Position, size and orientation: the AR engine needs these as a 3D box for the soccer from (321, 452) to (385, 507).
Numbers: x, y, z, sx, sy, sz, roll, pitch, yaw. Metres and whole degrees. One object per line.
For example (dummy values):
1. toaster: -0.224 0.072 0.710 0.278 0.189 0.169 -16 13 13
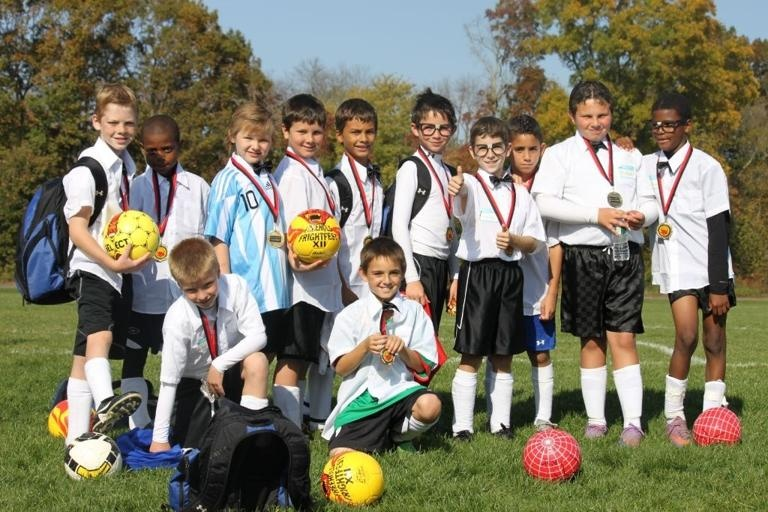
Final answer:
1. soccer: -0.365 2.555 9.995 0.714 0.566 0.276 1 -1 -3

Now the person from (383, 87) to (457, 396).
1. person: 0.516 -0.446 11.786 1.102 3.675 1.170 1 0 8

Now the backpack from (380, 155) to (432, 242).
1. backpack: 0.229 -0.828 11.799 0.464 1.092 0.795 1 -1 -31

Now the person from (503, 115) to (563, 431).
1. person: 2.167 0.141 12.067 0.919 3.859 0.951 1 0 18

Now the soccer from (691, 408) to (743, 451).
1. soccer: 4.308 2.194 11.173 0.601 0.449 0.262 1 -1 -4

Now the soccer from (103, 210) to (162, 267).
1. soccer: -3.148 -0.239 10.818 0.425 0.796 0.616 2 0 -43

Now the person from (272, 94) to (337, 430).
1. person: -1.129 -0.028 11.672 1.206 3.831 1.194 2 4 33
